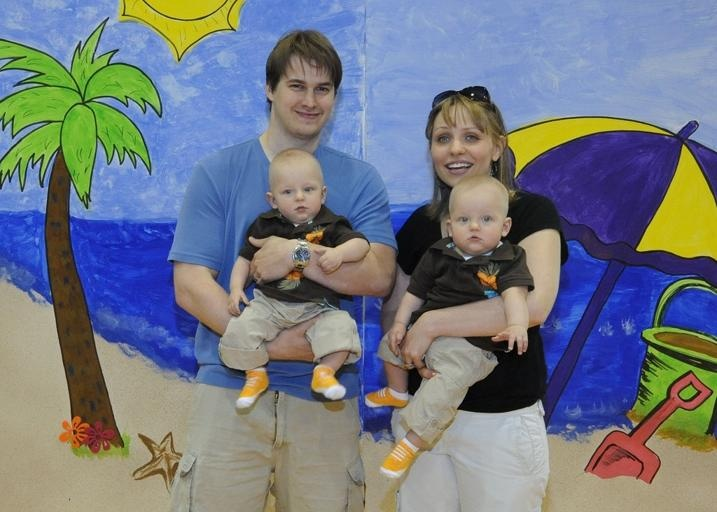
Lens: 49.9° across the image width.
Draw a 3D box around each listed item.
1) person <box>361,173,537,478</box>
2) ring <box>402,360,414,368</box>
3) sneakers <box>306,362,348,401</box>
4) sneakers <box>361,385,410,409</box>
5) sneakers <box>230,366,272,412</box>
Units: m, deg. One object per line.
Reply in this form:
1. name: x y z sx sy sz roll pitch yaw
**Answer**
1. person: 0.485 0.391 3.936 0.765 1.608 0.523 10 11 2
2. ring: 0.254 0.561 3.970 0.038 0.019 0.052 10 -16 9
3. sneakers: -0.155 0.641 3.899 0.148 0.106 0.271 -2 19 -19
4. sneakers: 0.126 0.766 4.151 0.270 0.111 0.097 4 4 16
5. sneakers: -0.529 0.686 3.899 0.147 0.240 0.234 8 11 -6
